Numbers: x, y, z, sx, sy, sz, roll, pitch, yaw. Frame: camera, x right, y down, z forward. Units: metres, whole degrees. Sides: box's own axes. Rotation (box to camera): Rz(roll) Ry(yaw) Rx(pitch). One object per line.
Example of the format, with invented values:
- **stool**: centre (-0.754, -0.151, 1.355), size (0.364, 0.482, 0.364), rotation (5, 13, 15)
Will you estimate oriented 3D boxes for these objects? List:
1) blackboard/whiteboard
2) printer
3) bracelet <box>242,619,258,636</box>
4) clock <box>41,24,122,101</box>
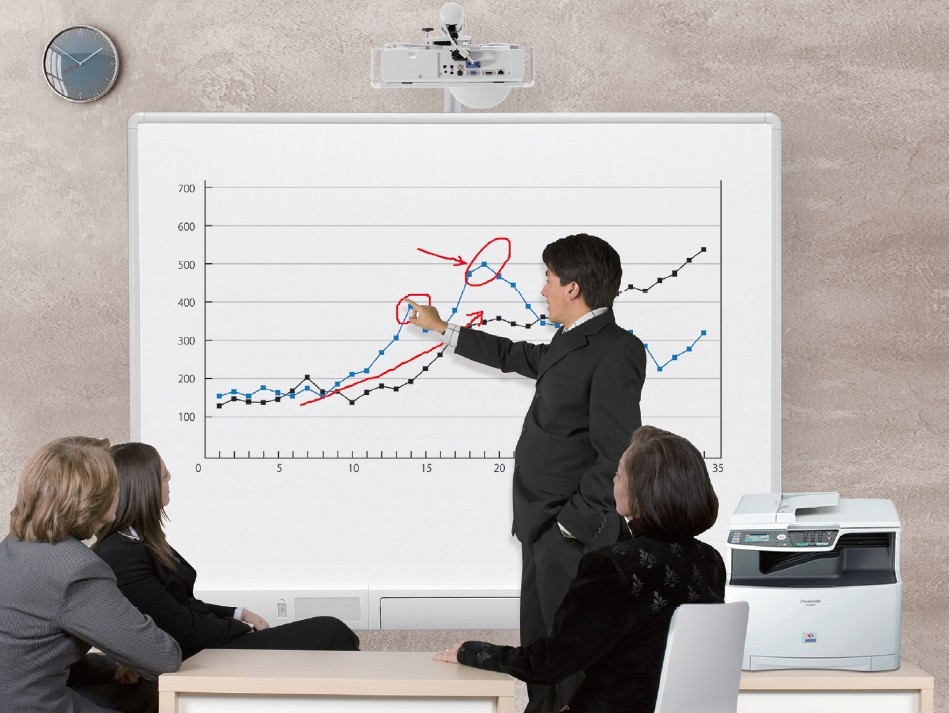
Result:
- **blackboard/whiteboard**: centre (-0.098, -0.044, 3.778), size (1.781, 1.229, 0.128), rotation (0, -2, 0)
- **printer**: centre (0.970, 0.658, 3.298), size (0.494, 0.463, 0.464), rotation (-1, -5, 6)
- **bracelet**: centre (-0.735, 0.894, 3.581), size (0.042, 0.019, 0.057), rotation (4, -1, -41)
- **clock**: centre (-1.472, -1.116, 4.119), size (0.298, 0.292, 0.023), rotation (-1, 2, 0)
